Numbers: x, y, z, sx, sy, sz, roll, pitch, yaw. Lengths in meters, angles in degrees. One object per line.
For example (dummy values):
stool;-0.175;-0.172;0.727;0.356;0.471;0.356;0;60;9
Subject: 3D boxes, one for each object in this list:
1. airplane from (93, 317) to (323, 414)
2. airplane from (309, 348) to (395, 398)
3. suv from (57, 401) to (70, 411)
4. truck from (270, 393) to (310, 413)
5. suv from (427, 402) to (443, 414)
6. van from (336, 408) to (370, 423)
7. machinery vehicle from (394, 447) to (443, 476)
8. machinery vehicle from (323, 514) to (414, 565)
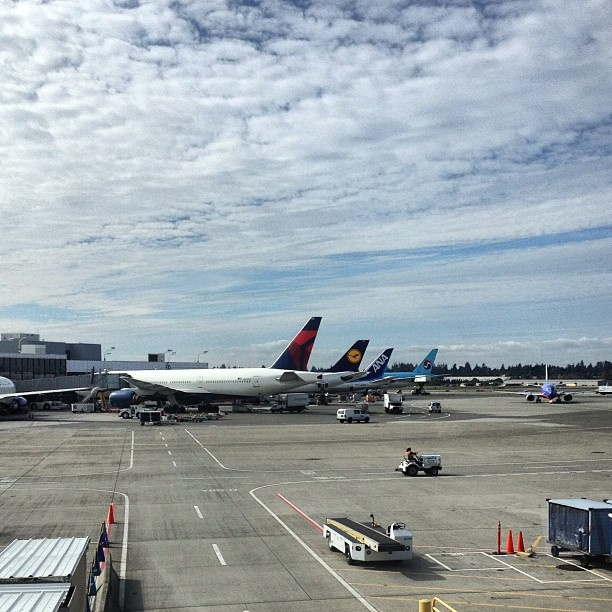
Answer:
airplane;-9.436;6.979;88.218;22.362;11.338;4.269;2;-7;4
airplane;6.298;12.649;121.740;19.209;5.710;15.946;-2;-2;-35
suv;-37.322;15.379;107.230;2.048;0.918;2.650;1;-2;-28
truck;-2.074;12.886;93.211;5.250;1.866;2.336;1;-4;-8
suv;17.132;13.510;91.732;2.055;1.282;2.900;0;3;3
van;5.335;11.773;75.328;3.550;0.941;1.586;-1;1;-21
machinery vehicle;6.426;8.908;39.442;3.020;1.244;1.518;-2;0;-15
machinery vehicle;2.120;7.822;23.363;2.045;1.238;2.791;4;-6;-18
